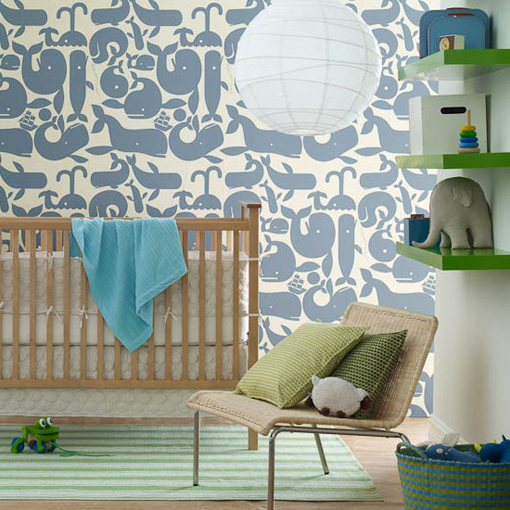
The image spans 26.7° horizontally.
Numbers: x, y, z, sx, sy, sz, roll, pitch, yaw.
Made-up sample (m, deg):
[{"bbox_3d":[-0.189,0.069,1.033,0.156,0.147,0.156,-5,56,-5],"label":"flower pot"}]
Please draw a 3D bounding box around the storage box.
[{"bbox_3d":[0.741,-0.486,4.072,0.232,0.246,0.239,-1,2,-6],"label":"storage box"}]

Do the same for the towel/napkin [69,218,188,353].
[{"bbox_3d":[-0.540,0.111,4.495,0.494,0.610,0.084,2,-1,1],"label":"towel/napkin"}]

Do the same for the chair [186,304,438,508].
[{"bbox_3d":[0.218,0.561,4.095,0.925,0.702,0.720,1,10,-3],"label":"chair"}]
